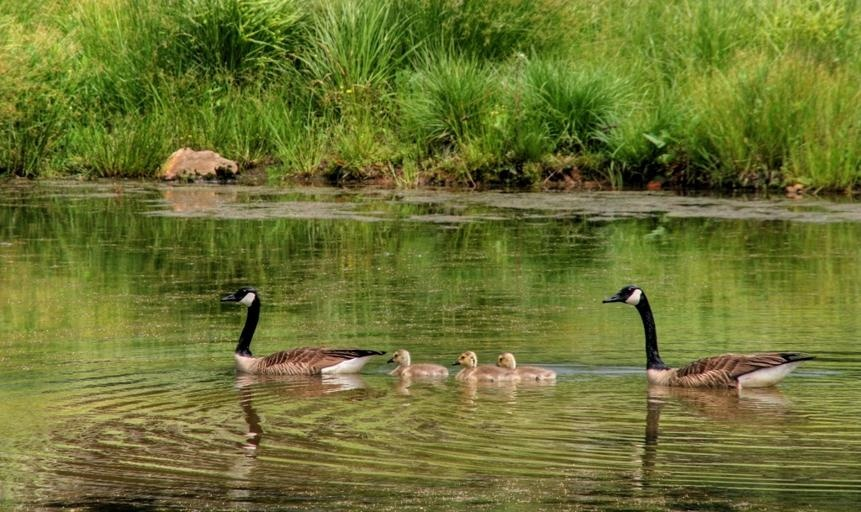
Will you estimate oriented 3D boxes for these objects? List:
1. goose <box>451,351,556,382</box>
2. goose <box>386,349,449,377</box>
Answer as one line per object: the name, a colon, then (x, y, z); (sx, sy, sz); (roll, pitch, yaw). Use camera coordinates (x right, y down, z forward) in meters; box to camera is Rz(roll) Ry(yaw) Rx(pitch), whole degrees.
goose: (0.978, 1.452, 16.743); (1.308, 0.355, 0.459); (1, -9, 9)
goose: (-0.178, 1.451, 16.971); (0.768, 0.338, 0.358); (2, -8, 9)
